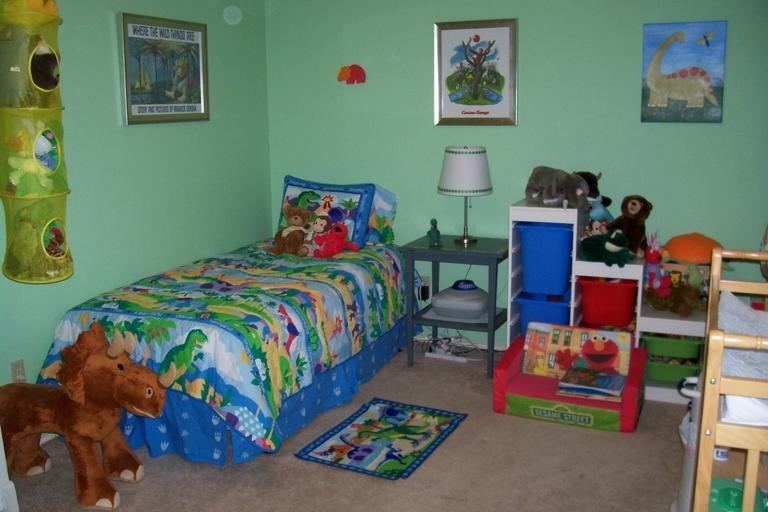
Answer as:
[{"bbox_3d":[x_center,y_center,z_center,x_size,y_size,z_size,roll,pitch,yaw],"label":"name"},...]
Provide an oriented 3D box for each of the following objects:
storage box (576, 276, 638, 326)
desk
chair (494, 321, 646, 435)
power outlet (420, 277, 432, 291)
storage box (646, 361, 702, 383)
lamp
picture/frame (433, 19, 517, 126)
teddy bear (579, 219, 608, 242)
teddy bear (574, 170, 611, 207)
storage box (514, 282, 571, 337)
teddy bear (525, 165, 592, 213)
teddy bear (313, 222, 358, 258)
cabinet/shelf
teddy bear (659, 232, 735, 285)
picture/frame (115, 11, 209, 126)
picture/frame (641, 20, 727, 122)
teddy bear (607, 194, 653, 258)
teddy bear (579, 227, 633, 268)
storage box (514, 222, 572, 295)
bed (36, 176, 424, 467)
[{"bbox_3d":[1.568,0.327,4.342,0.399,0.301,0.239,2,7,23],"label":"storage box"},{"bbox_3d":[0.593,0.396,4.827,0.938,0.942,0.847,6,-3,-5],"label":"desk"},{"bbox_3d":[1.163,0.946,3.935,0.840,0.477,0.629,5,15,24],"label":"chair"},{"bbox_3d":[0.368,0.238,5.105,0.082,0.095,0.084,5,11,23],"label":"power outlet"},{"bbox_3d":[1.930,0.794,4.172,0.210,0.108,0.275,1,5,13],"label":"storage box"},{"bbox_3d":[0.636,-0.462,4.772,0.496,0.771,0.489,-15,23,-34],"label":"lamp"},{"bbox_3d":[0.733,-1.440,4.753,0.815,0.956,0.044,2,7,20],"label":"picture/frame"},{"bbox_3d":[1.491,-0.184,4.353,0.140,0.186,0.066,12,-12,37],"label":"teddy bear"},{"bbox_3d":[1.506,-0.478,4.541,0.244,0.264,0.281,-6,-17,10],"label":"teddy bear"},{"bbox_3d":[1.134,0.406,4.394,0.345,0.238,0.288,2,4,26],"label":"storage box"},{"bbox_3d":[1.227,-0.485,4.314,0.365,0.213,0.293,16,27,39],"label":"teddy bear"},{"bbox_3d":[-0.369,-0.082,4.869,0.418,0.312,0.229,6,-13,-13],"label":"teddy bear"},{"bbox_3d":[1.505,0.345,4.129,1.281,1.227,0.430,3,9,18],"label":"cabinet/shelf"},{"bbox_3d":[2.166,-0.057,4.353,0.390,0.268,0.498,-4,2,37],"label":"teddy bear"},{"bbox_3d":[-1.569,-1.343,4.483,0.796,0.722,0.053,10,17,23],"label":"picture/frame"},{"bbox_3d":[2.113,-1.306,4.289,0.685,0.818,0.038,3,9,21],"label":"picture/frame"},{"bbox_3d":[1.795,-0.215,4.378,0.321,0.403,0.339,3,15,-40],"label":"teddy bear"},{"bbox_3d":[1.501,-0.046,4.229,0.342,0.227,0.243,4,6,21],"label":"teddy bear"},{"bbox_3d":[1.184,0.053,4.453,0.403,0.458,0.415,2,-4,40],"label":"storage box"},{"bbox_3d":[-0.762,0.248,4.263,1.470,1.144,2.029,8,13,32],"label":"bed"}]
